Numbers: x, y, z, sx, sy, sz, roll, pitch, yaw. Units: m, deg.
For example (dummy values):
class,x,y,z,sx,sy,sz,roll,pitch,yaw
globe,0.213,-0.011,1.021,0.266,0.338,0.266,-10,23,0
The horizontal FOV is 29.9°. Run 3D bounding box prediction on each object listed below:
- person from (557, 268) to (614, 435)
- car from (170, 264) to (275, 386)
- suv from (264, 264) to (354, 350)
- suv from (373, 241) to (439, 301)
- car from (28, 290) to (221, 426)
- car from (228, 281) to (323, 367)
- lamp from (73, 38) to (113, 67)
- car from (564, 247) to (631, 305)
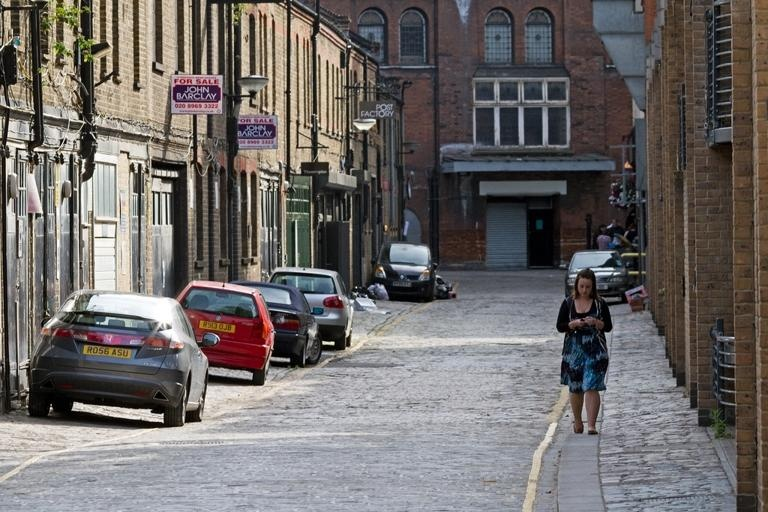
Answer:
class,x,y,z,sx,sy,sz,roll,pitch,yaw
person,2.772,1.301,19.814,0.808,2.112,0.905,0,0,12
car,-2.679,1.266,26.422,1.664,1.437,3.664,0,0,4
suv,-1.811,1.214,33.712,2.334,1.848,4.468,5,1,-1
suv,0.689,0.560,47.344,1.808,1.783,1.812,-2,-1,-4
car,-4.033,1.549,21.708,2.312,1.851,3.072,0,0,-14
car,-2.259,1.150,29.565,2.006,1.341,4.092,8,5,2
lamp,-5.348,-3.755,26.521,0.602,0.573,0.425,5,3,0
car,7.079,0.653,47.758,2.056,1.757,4.506,-3,0,10
